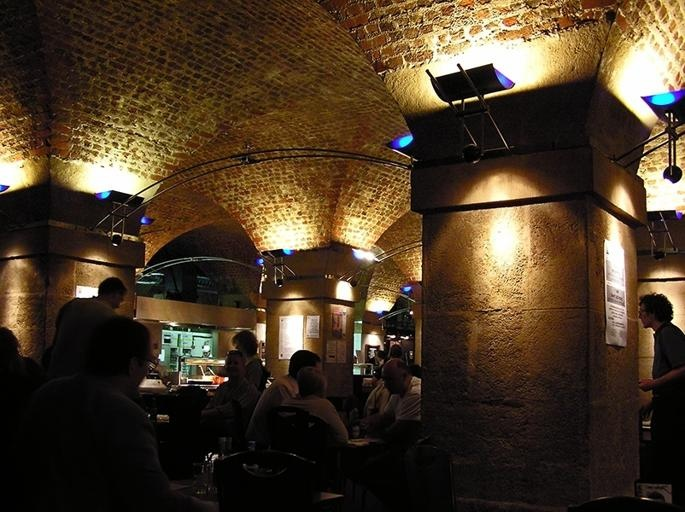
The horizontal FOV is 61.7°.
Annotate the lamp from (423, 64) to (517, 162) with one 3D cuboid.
[{"bbox_3d":[1.144,-1.154,4.929,0.660,0.837,0.780,-2,-12,16],"label":"lamp"}]

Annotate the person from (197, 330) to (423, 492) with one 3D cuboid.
[{"bbox_3d":[-0.059,1.721,5.906,1.155,1.420,1.610,-17,-32,32],"label":"person"}]
